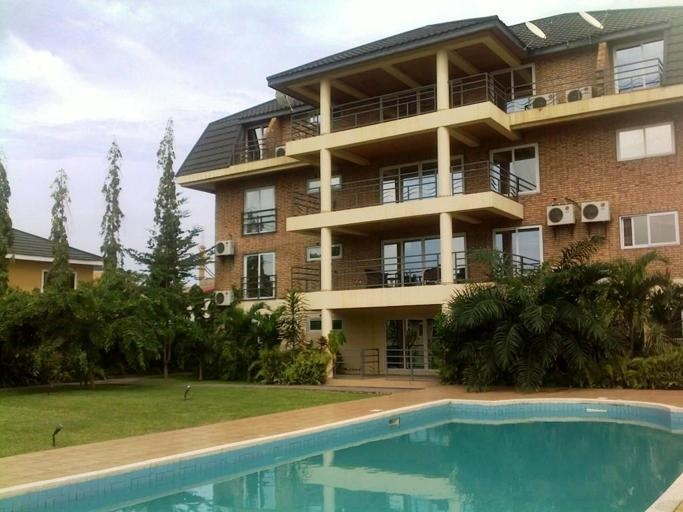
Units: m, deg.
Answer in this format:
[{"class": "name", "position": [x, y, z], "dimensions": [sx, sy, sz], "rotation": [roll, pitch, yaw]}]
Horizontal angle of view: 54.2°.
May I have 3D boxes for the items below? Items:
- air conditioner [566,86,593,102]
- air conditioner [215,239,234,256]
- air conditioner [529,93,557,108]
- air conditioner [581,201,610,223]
[{"class": "air conditioner", "position": [8.615, -5.853, 23.981], "dimensions": [0.926, 0.693, 0.837], "rotation": [2, 2, 19]}, {"class": "air conditioner", "position": [-5.465, -0.403, 31.316], "dimensions": [0.903, 0.754, 0.498], "rotation": [2, 2, 13]}, {"class": "air conditioner", "position": [7.528, -5.754, 24.730], "dimensions": [0.988, 0.617, 0.959], "rotation": [2, 2, 17]}, {"class": "air conditioner", "position": [8.921, -1.545, 23.189], "dimensions": [0.677, 0.590, 0.244], "rotation": [-5, -11, 39]}]
